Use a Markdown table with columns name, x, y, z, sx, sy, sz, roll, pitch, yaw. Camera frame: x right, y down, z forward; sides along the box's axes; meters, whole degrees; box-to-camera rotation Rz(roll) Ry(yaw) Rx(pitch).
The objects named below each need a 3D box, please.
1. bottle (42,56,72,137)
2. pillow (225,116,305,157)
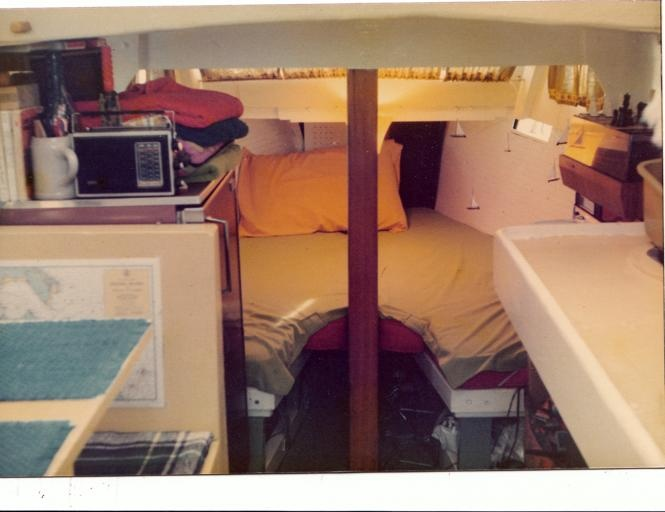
| name | x | y | z | sx | sy | sz | roll | pitch | yaw |
| --- | --- | --- | --- | --- | --- | --- | --- | --- | --- |
| bottle | -0.900 | -0.520 | 1.741 | 0.091 | 0.257 | 0.180 | -10 | 19 | -22 |
| pillow | -0.254 | -0.451 | 2.032 | 0.309 | 0.219 | 0.069 | 5 | 22 | -2 |
